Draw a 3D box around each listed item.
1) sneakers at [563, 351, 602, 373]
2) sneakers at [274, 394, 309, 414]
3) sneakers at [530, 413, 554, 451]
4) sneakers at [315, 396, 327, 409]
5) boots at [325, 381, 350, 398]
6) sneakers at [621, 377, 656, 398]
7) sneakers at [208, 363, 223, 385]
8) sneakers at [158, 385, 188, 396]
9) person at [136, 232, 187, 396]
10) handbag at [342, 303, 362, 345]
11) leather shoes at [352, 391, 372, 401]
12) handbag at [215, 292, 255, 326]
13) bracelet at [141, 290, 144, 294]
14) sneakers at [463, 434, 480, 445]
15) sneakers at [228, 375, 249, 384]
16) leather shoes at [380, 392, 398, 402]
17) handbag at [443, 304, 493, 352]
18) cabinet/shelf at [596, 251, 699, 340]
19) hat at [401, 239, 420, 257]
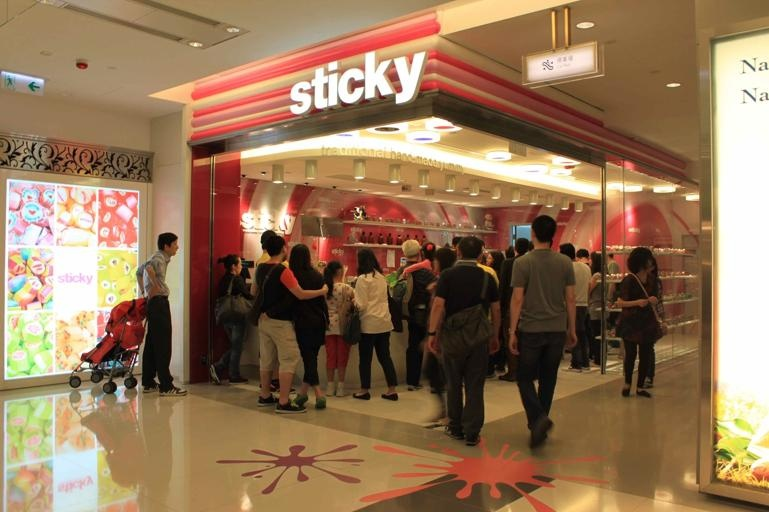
[{"bbox_3d":[3.192,1.760,8.951,0.570,0.243,0.192,1,-2,34],"label":"sneakers"},{"bbox_3d":[-1.127,1.809,6.685,0.330,0.139,0.158,1,-6,-9],"label":"sneakers"},{"bbox_3d":[1.590,1.825,5.693,0.174,0.468,0.200,13,40,0],"label":"sneakers"},{"bbox_3d":[-0.790,1.826,6.854,0.101,0.114,0.276,0,-13,-10],"label":"sneakers"},{"bbox_3d":[-0.627,1.813,7.489,0.137,0.245,0.388,-1,-13,9],"label":"boots"},{"bbox_3d":[3.381,1.808,7.510,0.601,0.249,0.177,0,-2,-5],"label":"sneakers"},{"bbox_3d":[-2.502,1.768,8.180,0.147,0.336,0.121,-31,10,-26],"label":"sneakers"},{"bbox_3d":[-2.868,1.825,7.505,0.351,0.147,0.148,0,-5,-10],"label":"sneakers"},{"bbox_3d":[-3.064,0.786,7.554,0.614,2.199,0.475,-2,-3,45],"label":"person"},{"bbox_3d":[-0.417,0.899,7.106,0.236,0.557,0.501,3,-7,5],"label":"handbag"},{"bbox_3d":[-0.305,1.830,7.253,0.204,0.081,0.101,4,1,43],"label":"leather shoes"},{"bbox_3d":[-2.095,0.757,7.796,0.528,0.497,0.251,-1,-18,-5],"label":"handbag"},{"bbox_3d":[-3.319,0.504,7.597,0.048,0.044,0.011,6,13,17],"label":"bracelet"},{"bbox_3d":[0.911,1.899,5.761,0.165,0.119,0.192,-1,-1,8],"label":"sneakers"},{"bbox_3d":[-2.162,1.844,8.219,0.294,0.122,0.103,-1,-1,-24],"label":"sneakers"},{"bbox_3d":[0.063,1.841,7.219,0.083,0.085,0.224,2,-1,-41],"label":"leather shoes"},{"bbox_3d":[0.837,0.749,5.681,0.426,0.297,0.233,-24,-3,10],"label":"handbag"},{"bbox_3d":[3.718,0.554,7.777,1.380,1.263,0.445,-1,4,-26],"label":"cabinet/shelf"},{"bbox_3d":[0.367,-0.123,7.444,0.176,0.133,0.260,-9,20,18],"label":"hat"}]
